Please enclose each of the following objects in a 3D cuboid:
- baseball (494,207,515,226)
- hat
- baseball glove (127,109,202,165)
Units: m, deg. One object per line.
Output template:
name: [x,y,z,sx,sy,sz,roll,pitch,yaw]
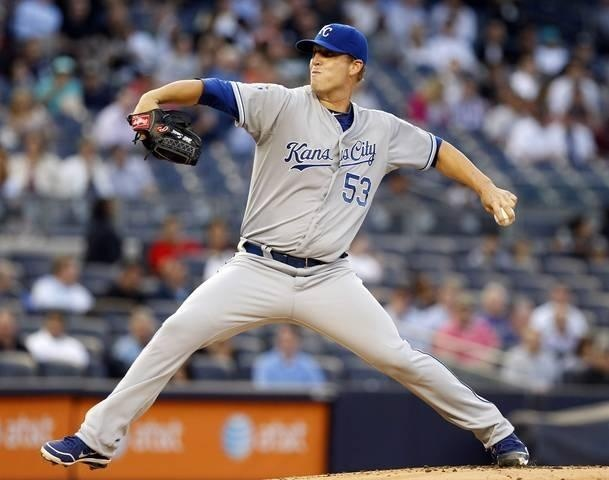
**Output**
baseball: [1.412,-0.161,7.075,0.105,0.134,0.046,0,-12,-2]
hat: [0.209,-1.352,7.091,0.397,0.211,0.278,10,6,-18]
baseball glove: [-0.947,-0.709,6.752,0.454,0.356,0.222,15,5,-15]
